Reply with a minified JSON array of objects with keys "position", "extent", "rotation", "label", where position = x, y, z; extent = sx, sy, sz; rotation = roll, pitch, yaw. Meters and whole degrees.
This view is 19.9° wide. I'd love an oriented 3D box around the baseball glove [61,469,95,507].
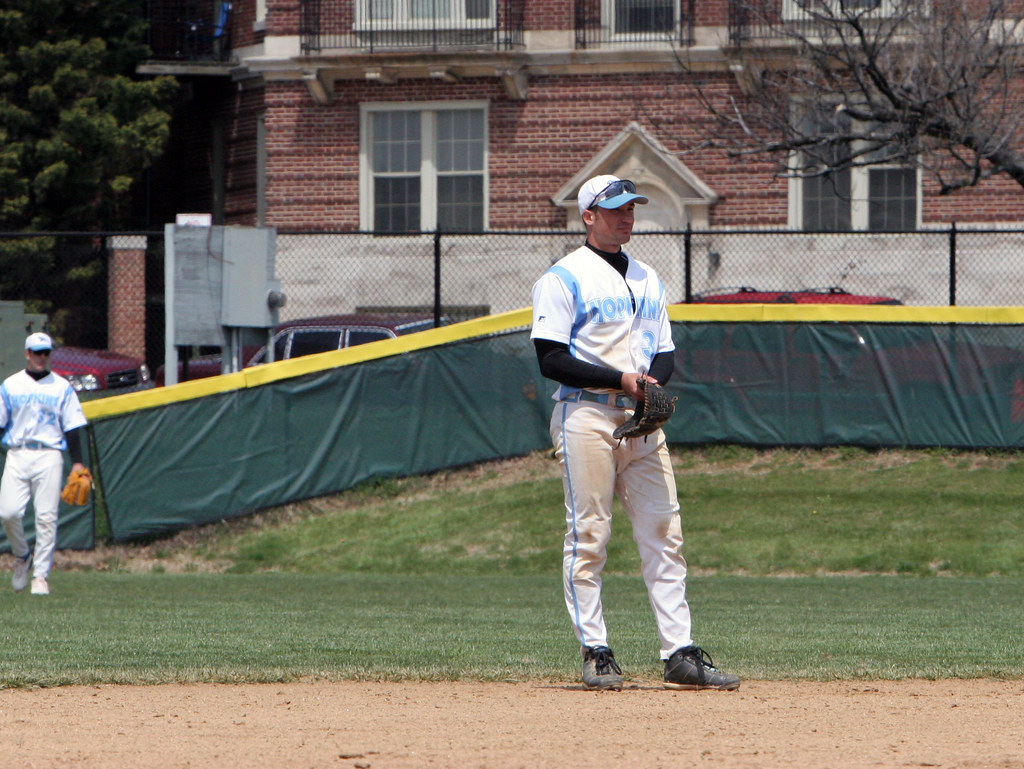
[{"position":[-5.980,1.438,40.008],"extent":[0.390,0.528,0.209],"rotation":[13,2,-16],"label":"baseball glove"}]
